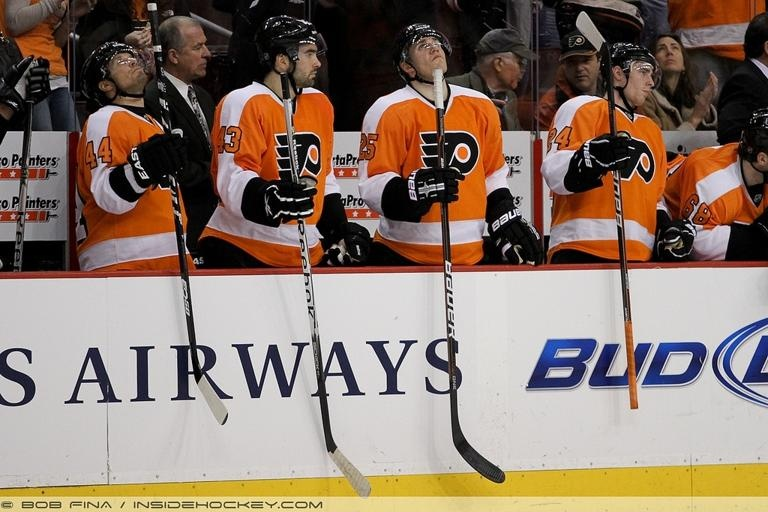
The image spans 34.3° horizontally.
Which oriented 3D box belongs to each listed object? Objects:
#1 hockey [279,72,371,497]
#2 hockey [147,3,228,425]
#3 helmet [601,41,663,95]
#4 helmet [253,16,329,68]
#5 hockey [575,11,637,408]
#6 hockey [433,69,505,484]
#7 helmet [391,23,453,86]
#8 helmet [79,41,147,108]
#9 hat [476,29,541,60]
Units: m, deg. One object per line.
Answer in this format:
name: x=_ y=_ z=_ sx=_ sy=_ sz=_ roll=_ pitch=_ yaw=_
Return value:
hockey: x=-0.311 y=0.141 z=6.506 sx=0.484 sy=2.215 sz=0.430 roll=1 pitch=-1 yaw=-3
hockey: x=-1.043 y=-0.238 z=6.479 sx=0.434 sy=2.212 sz=0.454 roll=1 pitch=-1 yaw=-11
helmet: x=1.372 y=-1.066 z=7.033 sx=0.313 sy=0.294 sz=0.241 roll=-15 pitch=3 yaw=0
helmet: x=-0.534 y=-1.159 z=6.723 sx=0.326 sy=0.253 sz=0.253 roll=-4 pitch=8 yaw=1
hockey: x=1.221 y=-0.254 z=6.701 sx=0.353 sy=2.127 sz=0.362 roll=0 pitch=-1 yaw=24
hockey: x=0.445 y=0.116 z=6.557 sx=0.399 sy=2.141 sz=0.405 roll=1 pitch=-1 yaw=4
helmet: x=0.203 y=-1.119 z=6.832 sx=0.311 sy=0.330 sz=0.181 roll=1 pitch=-1 yaw=-4
helmet: x=-1.556 y=-1.010 z=6.874 sx=0.328 sy=0.356 sz=0.172 roll=0 pitch=-1 yaw=19
hat: x=0.745 y=-1.323 z=7.771 sx=0.292 sy=0.149 sz=0.190 roll=-3 pitch=9 yaw=-3
